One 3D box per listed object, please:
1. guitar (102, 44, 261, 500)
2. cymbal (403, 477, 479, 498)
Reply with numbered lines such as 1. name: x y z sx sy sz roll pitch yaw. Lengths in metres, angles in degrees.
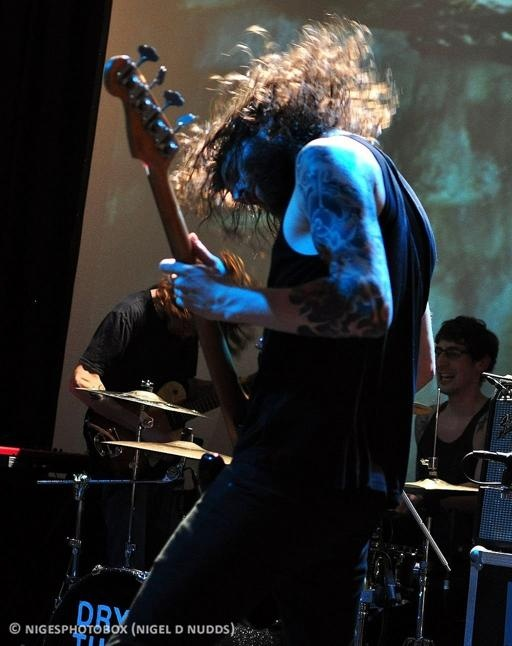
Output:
1. guitar: -0.132 -0.116 1.425 0.107 0.830 0.288 -20 8 -21
2. cymbal: 0.901 0.794 3.335 0.309 0.063 0.287 1 -1 -24
